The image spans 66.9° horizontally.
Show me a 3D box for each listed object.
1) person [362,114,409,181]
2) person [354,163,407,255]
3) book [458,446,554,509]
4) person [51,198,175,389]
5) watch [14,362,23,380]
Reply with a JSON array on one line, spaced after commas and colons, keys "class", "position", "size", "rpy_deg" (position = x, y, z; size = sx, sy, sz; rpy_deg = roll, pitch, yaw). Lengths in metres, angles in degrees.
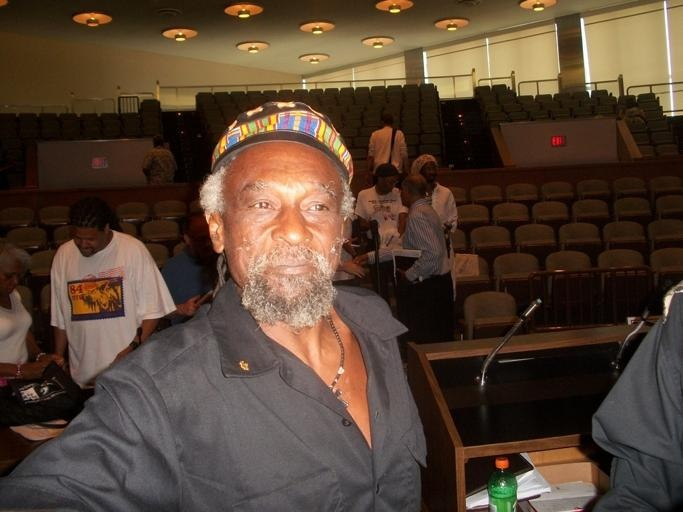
[{"class": "person", "position": [0.797, -1.724, 8.986], "size": [0.602, 1.747, 0.471], "rpy_deg": [2, 47, 7]}, {"class": "person", "position": [0.431, -0.530, 5.784], "size": [0.576, 0.978, 0.572], "rpy_deg": [3, 2, 25]}, {"class": "book", "position": [0.690, 0.960, 2.203], "size": [0.266, 0.070, 0.266], "rpy_deg": [-9, 0, -15]}, {"class": "person", "position": [-1.547, 0.415, 3.360], "size": [0.798, 1.551, 0.518], "rpy_deg": [8, 20, -2]}, {"class": "watch", "position": [-1.833, 0.651, 2.931], "size": [0.021, 0.082, 0.083], "rpy_deg": [-4, -8, -5]}]
